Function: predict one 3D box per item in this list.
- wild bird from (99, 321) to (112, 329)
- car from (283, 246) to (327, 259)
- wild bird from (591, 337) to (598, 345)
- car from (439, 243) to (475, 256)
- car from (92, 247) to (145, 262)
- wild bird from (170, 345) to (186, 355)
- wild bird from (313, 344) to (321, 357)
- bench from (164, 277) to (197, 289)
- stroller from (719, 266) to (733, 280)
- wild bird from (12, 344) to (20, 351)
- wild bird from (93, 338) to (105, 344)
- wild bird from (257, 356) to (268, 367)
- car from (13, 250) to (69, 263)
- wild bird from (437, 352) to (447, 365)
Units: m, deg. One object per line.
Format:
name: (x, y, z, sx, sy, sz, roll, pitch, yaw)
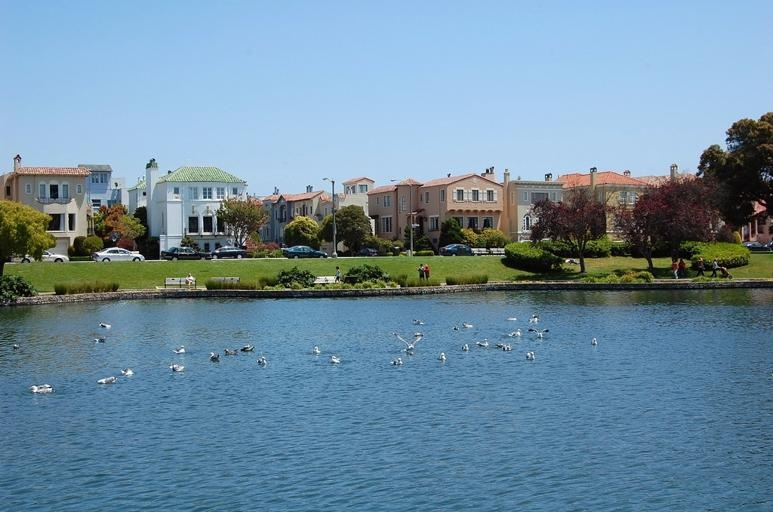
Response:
wild bird: (-18.845, 4.686, 63.298, 0.503, 0.637, 1.543, -2, -5, -18)
car: (-9.901, -0.459, 113.881, 4.948, 1.236, 2.773, 0, -3, 0)
wild bird: (12.518, 5.173, 56.395, 0.360, 0.421, 0.479, 1, -2, -20)
car: (8.939, -0.831, 118.933, 2.720, 1.460, 4.540, 2, -3, -21)
car: (-29.323, -0.155, 102.307, 4.837, 1.417, 2.129, 1, -3, -18)
wild bird: (-11.887, 5.484, 54.597, 0.460, 0.483, 0.736, 5, -10, -37)
wild bird: (-4.031, 5.542, 54.863, 0.415, 0.701, 1.209, -1, -3, 0)
bench: (-18.685, 2.421, 85.010, 2.481, 0.958, 3.667, -1, -3, 25)
stroller: (34.353, 1.741, 94.733, 1.075, 1.149, 2.109, -3, -6, 12)
wild bird: (-21.967, 5.433, 55.824, 0.324, 0.281, 0.727, 0, -5, -14)
wild bird: (-17.567, 5.220, 57.949, 0.439, 0.158, 0.407, -2, 9, -3)
wild bird: (-6.822, 5.823, 51.903, 0.412, 0.491, 0.268, -3, 13, -9)
car: (-34.507, 0.127, 93.719, 3.473, 1.022, 1.387, -1, 2, -6)
wild bird: (3.146, 5.815, 53.223, 0.411, 0.529, 1.176, 1, -3, 3)
